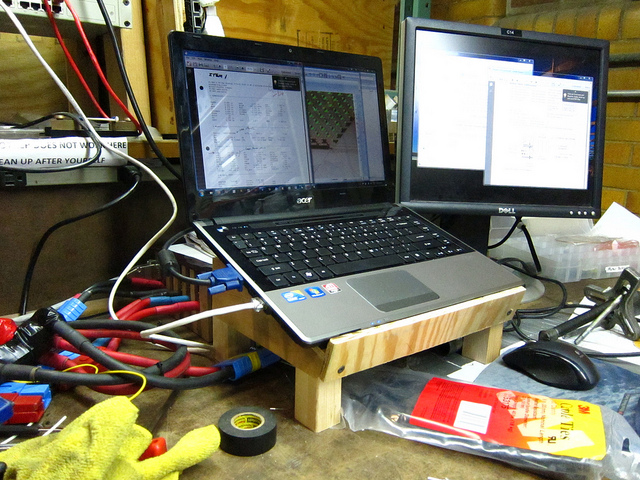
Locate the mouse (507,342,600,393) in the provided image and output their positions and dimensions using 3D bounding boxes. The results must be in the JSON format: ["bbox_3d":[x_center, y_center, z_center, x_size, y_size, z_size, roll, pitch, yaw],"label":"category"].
[{"bbox_3d":[0.342,0.180,0.696,0.093,0.028,0.059,19,23,34],"label":"mouse"}]

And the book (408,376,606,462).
[{"bbox_3d":[0.233,0.222,0.605,0.159,0.015,0.089,6,15,20],"label":"book"}]

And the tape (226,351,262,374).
[{"bbox_3d":[-0.100,0.170,0.682,0.033,0.013,0.033,13,16,36],"label":"tape"}]

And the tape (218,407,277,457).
[{"bbox_3d":[-0.086,0.233,0.587,0.072,0.023,0.068,-1,9,-10],"label":"tape"}]

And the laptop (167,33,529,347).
[{"bbox_3d":[0.040,-0.108,0.702,0.416,0.380,0.332,-13,22,-30],"label":"laptop"}]

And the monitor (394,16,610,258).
[{"bbox_3d":[0.351,-0.199,1.016,0.499,0.441,0.156,-2,6,-21],"label":"monitor"}]
